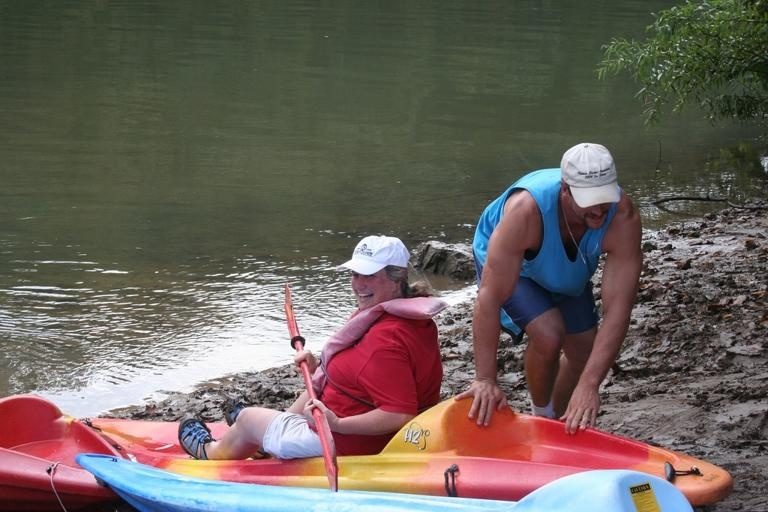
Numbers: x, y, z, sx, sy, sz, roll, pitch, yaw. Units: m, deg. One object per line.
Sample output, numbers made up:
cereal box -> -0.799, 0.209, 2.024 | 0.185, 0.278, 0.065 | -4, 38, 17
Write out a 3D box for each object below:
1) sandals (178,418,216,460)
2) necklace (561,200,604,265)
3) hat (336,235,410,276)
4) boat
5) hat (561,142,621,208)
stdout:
sandals -> -1.654, 1.554, 8.681 | 0.443, 0.201, 0.172 | 39, -16, 6
necklace -> 1.564, -0.205, 8.127 | 0.307, 0.463, 0.133 | 2, 12, -2
hat -> -0.060, -0.036, 8.423 | 0.444, 0.290, 0.640 | 13, 13, 40
boat -> -0.060, 1.628, 8.183 | 3.437, 0.522, 0.989 | 0, 5, 15
hat -> 1.704, -0.703, 8.167 | 0.481, 0.345, 0.665 | -9, 34, 0
